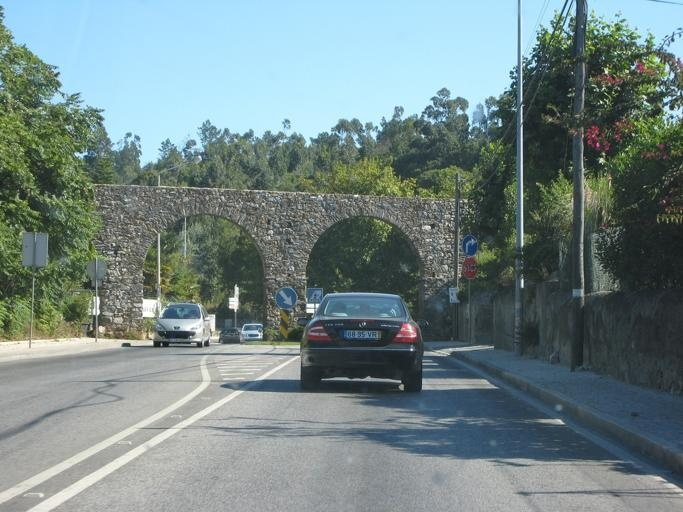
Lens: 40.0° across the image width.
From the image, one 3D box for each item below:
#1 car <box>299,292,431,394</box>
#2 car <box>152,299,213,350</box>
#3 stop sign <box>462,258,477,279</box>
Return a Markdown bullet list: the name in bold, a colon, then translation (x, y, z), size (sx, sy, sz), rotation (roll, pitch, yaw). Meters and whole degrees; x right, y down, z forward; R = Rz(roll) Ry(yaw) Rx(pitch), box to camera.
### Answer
- **car**: translation (0.412, 1.715, 18.374), size (2.345, 1.925, 1.044), rotation (-1, -6, 0)
- **car**: translation (-5.717, 2.511, 34.682), size (1.134, 1.138, 2.236), rotation (-1, -9, 2)
- **stop sign**: translation (4.889, 0.423, 35.655), size (0.453, 0.915, 1.295), rotation (-1, -8, 4)
